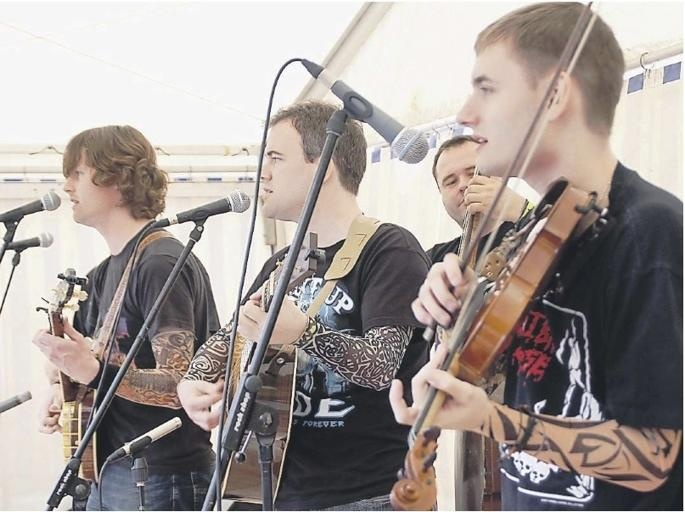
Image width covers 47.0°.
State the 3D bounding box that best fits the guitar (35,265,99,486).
[{"bbox_3d":[-1.450,0.607,4.176,0.325,1.091,0.748,4,-5,-21],"label":"guitar"}]

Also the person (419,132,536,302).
[{"bbox_3d":[0.616,-0.234,4.024,0.243,0.781,0.401,5,-1,-26],"label":"person"}]

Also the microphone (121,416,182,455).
[{"bbox_3d":[-0.920,0.887,3.884,0.368,0.065,0.062,-31,34,-25],"label":"microphone"}]
